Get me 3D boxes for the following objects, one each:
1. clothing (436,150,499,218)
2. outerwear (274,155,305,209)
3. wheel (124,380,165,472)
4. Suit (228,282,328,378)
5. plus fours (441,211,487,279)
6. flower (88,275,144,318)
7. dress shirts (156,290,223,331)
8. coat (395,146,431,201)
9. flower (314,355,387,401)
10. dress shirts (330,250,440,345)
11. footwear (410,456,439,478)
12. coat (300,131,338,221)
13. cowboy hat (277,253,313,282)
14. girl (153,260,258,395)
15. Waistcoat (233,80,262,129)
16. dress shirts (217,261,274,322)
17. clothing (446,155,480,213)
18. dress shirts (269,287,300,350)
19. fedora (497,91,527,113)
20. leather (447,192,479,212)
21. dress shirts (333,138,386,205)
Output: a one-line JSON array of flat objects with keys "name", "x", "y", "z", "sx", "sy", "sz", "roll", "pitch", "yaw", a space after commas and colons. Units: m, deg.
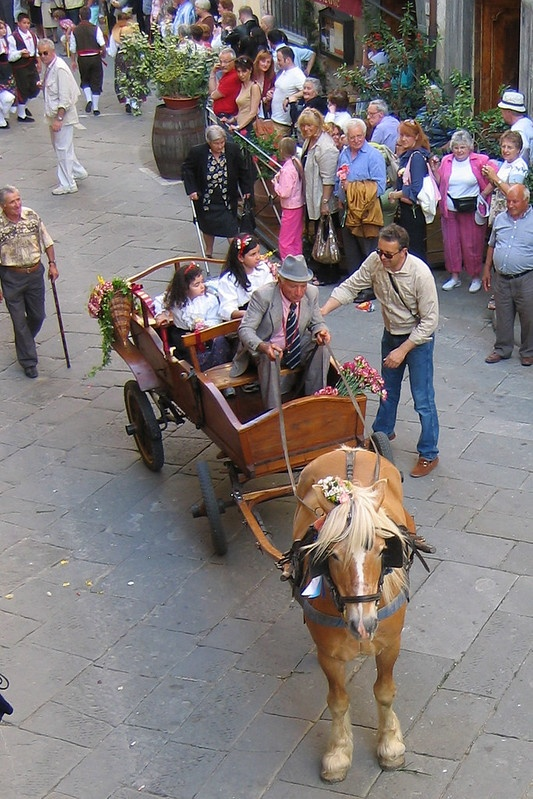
[{"name": "clothing", "x": 2.336, "y": -2.553, "z": 8.864, "sx": 0.862, "sy": 0.765, "sz": 0.458, "roll": 3, "pitch": 11, "yaw": 20}, {"name": "outerwear", "x": 0.275, "y": -2.740, "z": 9.492, "sx": 0.360, "sy": 0.637, "sz": 0.314, "roll": -7, "pitch": 19, "yaw": 1}, {"name": "wheel", "x": -1.074, "y": 0.235, "z": 6.578, "sx": 0.226, "sy": 0.641, "sz": 0.647, "roll": -17, "pitch": 32, "yaw": -13}, {"name": "Suit", "x": 0.129, "y": -0.463, "z": 5.378, "sx": 0.670, "sy": 0.809, "sz": 0.556, "roll": -12, "pitch": 48, "yaw": -13}, {"name": "plus fours", "x": 2.365, "y": -1.991, "z": 9.134, "sx": 0.419, "sy": 0.815, "sz": 0.300, "roll": 1, "pitch": 0, "yaw": 34}, {"name": "flower", "x": -1.382, "y": -0.884, "z": 6.590, "sx": 0.410, "sy": 0.226, "sz": 0.410, "roll": -15, "pitch": 21, "yaw": -17}, {"name": "dress shirts", "x": -0.656, "y": -0.754, "z": 6.218, "sx": 0.336, "sy": 0.272, "sz": 0.494, "roll": -27, "pitch": 32, "yaw": -37}, {"name": "coat", "x": 1.766, "y": -2.625, "z": 8.747, "sx": 0.342, "sy": 0.617, "sz": 0.323, "roll": -23, "pitch": 24, "yaw": -38}, {"name": "flower", "x": 0.587, "y": -0.109, "z": 5.149, "sx": 0.396, "sy": 0.246, "sz": 0.342, "roll": -9, "pitch": 11, "yaw": 9}, {"name": "dress shirts", "x": 0.935, "y": -0.788, "z": 5.866, "sx": 0.833, "sy": 0.785, "sz": 0.489, "roll": 17, "pitch": 51, "yaw": 28}, {"name": "footwear", "x": 1.302, "y": 0.546, "z": 6.179, "sx": 0.109, "sy": 0.111, "sz": 0.298, "roll": 9, "pitch": 18, "yaw": 38}, {"name": "coat", "x": 0.668, "y": -2.764, "z": 9.215, "sx": 0.472, "sy": 1.023, "sz": 0.297, "roll": -4, "pitch": 20, "yaw": 10}, {"name": "cowboy hat", "x": 0.174, "y": -0.892, "z": 4.989, "sx": 0.174, "sy": 0.085, "sz": 0.209, "roll": 5, "pitch": 20, "yaw": -14}, {"name": "girl", "x": -0.595, "y": -0.608, "z": 6.146, "sx": 0.681, "sy": 0.942, "sz": 0.608, "roll": 16, "pitch": 23, "yaw": 38}, {"name": "Waistcoat", "x": -0.322, "y": -4.776, "z": 12.115, "sx": 0.335, "sy": 0.778, "sz": 0.559, "roll": -2, "pitch": 31, "yaw": -18}, {"name": "dress shirts", "x": -0.168, "y": -0.835, "z": 5.809, "sx": 0.585, "sy": 0.496, "sz": 0.301, "roll": -9, "pitch": 23, "yaw": -27}, {"name": "clothing", "x": 2.324, "y": -2.583, "z": 8.814, "sx": 0.502, "sy": 0.631, "sz": 0.372, "roll": 15, "pitch": 38, "yaw": 42}, {"name": "dress shirts", "x": 0.091, "y": -0.547, "z": 5.136, "sx": 0.335, "sy": 0.391, "sz": 0.217, "roll": 3, "pitch": 11, "yaw": -5}, {"name": "fedora", "x": 2.947, "y": -3.595, "z": 9.005, "sx": 0.267, "sy": 0.298, "sz": 0.313, "roll": -6, "pitch": 18, "yaw": 4}, {"name": "leather", "x": 2.284, "y": -2.297, "z": 8.738, "sx": 0.341, "sy": 0.249, "sz": 0.163, "roll": -4, "pitch": 19, "yaw": 8}, {"name": "dress shirts", "x": 1.100, "y": -2.702, "z": 8.891, "sx": 0.888, "sy": 0.756, "sz": 0.492, "roll": 9, "pitch": 19, "yaw": 35}]
